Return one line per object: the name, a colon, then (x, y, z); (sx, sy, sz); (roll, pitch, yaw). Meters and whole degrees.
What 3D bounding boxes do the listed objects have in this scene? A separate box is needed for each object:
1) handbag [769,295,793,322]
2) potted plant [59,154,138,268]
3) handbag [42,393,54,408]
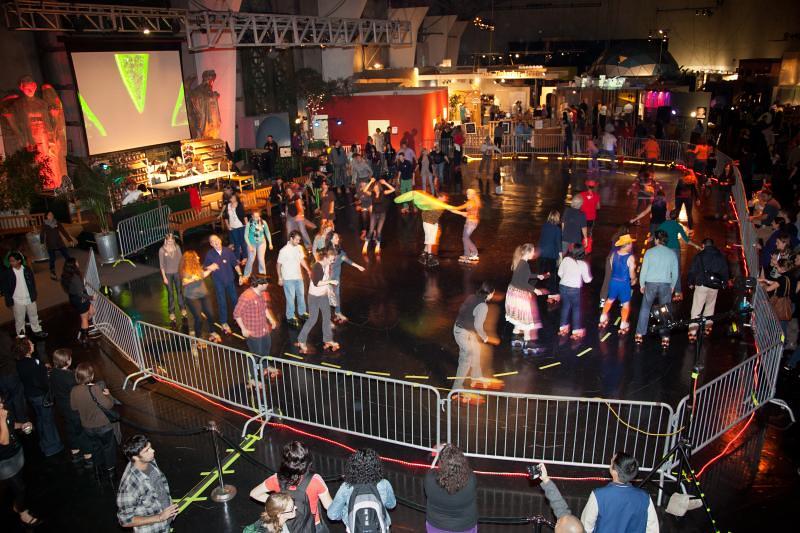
handbag: (7.076, 0.817, 10.014); (0.185, 0.503, 0.380); (-35, 30, -29)
potted plant: (-9.325, -1.625, 16.573); (1.727, 3.667, 1.192); (2, 28, 1)
handbag: (-5.828, 2.249, 8.915); (0.130, 0.196, 0.067); (-3, 1, -26)
